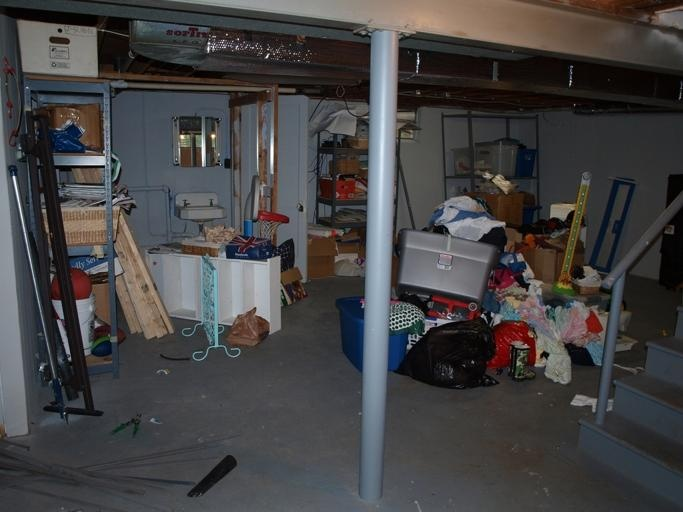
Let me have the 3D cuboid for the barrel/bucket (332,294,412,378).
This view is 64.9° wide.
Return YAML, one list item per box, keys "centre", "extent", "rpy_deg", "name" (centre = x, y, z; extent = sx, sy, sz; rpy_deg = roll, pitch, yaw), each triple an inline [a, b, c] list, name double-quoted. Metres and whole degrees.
- centre: [0.243, 0.770, 5.210]
  extent: [0.627, 0.592, 0.838]
  rpy_deg: [-9, 16, -29]
  name: "barrel/bucket"

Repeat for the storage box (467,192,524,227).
- centre: [2.215, -0.668, 7.611]
  extent: [0.790, 0.705, 0.515]
  rpy_deg: [3, 6, 15]
  name: "storage box"

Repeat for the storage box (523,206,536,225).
- centre: [3.372, -0.744, 9.549]
  extent: [0.166, 0.283, 0.376]
  rpy_deg: [11, 18, 37]
  name: "storage box"

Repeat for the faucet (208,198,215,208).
- centre: [-1.903, -0.782, 7.840]
  extent: [0.113, 0.119, 0.113]
  rpy_deg: [0, 2, -8]
  name: "faucet"

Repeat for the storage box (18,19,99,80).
- centre: [-2.277, -1.679, 4.540]
  extent: [0.680, 0.422, 0.363]
  rpy_deg: [4, 3, 3]
  name: "storage box"

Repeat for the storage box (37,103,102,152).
- centre: [-2.801, -1.281, 5.346]
  extent: [0.367, 0.569, 0.644]
  rpy_deg: [18, 25, 24]
  name: "storage box"

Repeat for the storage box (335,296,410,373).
- centre: [0.381, 0.666, 5.442]
  extent: [0.818, 0.615, 1.089]
  rpy_deg: [1, 19, -7]
  name: "storage box"

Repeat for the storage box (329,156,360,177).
- centre: [0.023, -1.344, 8.073]
  extent: [0.294, 0.197, 0.401]
  rpy_deg: [3, 8, 30]
  name: "storage box"

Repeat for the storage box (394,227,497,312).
- centre: [1.001, 0.125, 5.443]
  extent: [0.948, 0.613, 0.533]
  rpy_deg: [11, -11, 4]
  name: "storage box"

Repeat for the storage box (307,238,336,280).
- centre: [-0.328, 0.028, 8.094]
  extent: [0.589, 0.617, 0.410]
  rpy_deg: [-2, 8, -19]
  name: "storage box"

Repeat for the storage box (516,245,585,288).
- centre: [2.557, 0.093, 6.773]
  extent: [0.328, 0.385, 0.519]
  rpy_deg: [-4, 15, -14]
  name: "storage box"

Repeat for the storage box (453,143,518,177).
- centre: [2.575, -1.724, 9.608]
  extent: [0.600, 0.540, 0.913]
  rpy_deg: [-2, 5, -32]
  name: "storage box"

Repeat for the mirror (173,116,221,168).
- centre: [-2.265, -1.785, 8.273]
  extent: [0.805, 0.798, 0.088]
  rpy_deg: [-2, 6, -21]
  name: "mirror"
